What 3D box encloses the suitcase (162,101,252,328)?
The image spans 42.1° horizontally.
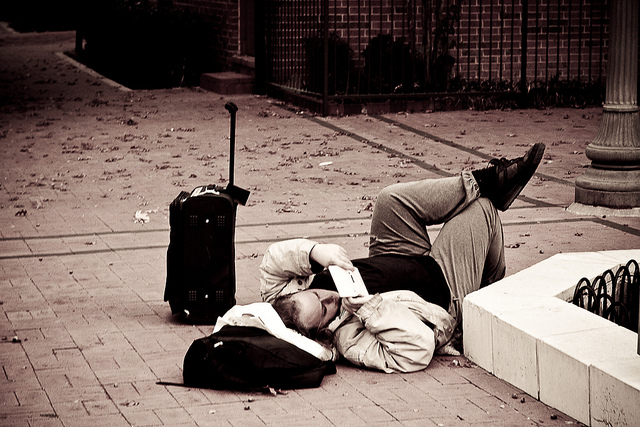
[{"bbox_3d":[-0.947,0.020,6.973,0.722,1.860,0.993,-1,10,-11],"label":"suitcase"}]

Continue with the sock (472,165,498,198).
[{"bbox_3d":[1.328,-0.278,6.725,0.145,0.315,0.106,21,7,-22],"label":"sock"}]
